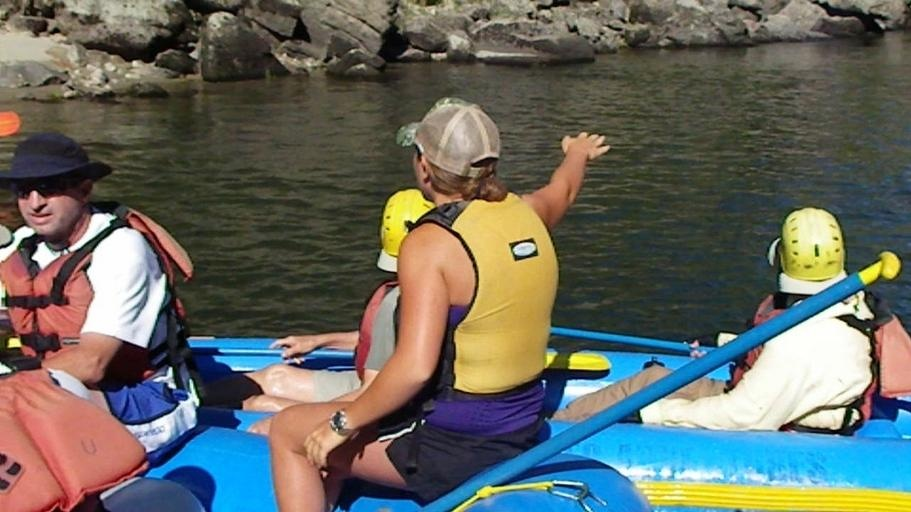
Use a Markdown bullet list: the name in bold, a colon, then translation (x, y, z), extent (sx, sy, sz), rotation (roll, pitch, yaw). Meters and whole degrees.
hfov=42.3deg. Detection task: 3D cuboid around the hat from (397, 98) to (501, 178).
- **hat**: translation (-0.018, -1.564, 14.926), extent (1.161, 0.617, 0.838), rotation (35, 48, 21)
